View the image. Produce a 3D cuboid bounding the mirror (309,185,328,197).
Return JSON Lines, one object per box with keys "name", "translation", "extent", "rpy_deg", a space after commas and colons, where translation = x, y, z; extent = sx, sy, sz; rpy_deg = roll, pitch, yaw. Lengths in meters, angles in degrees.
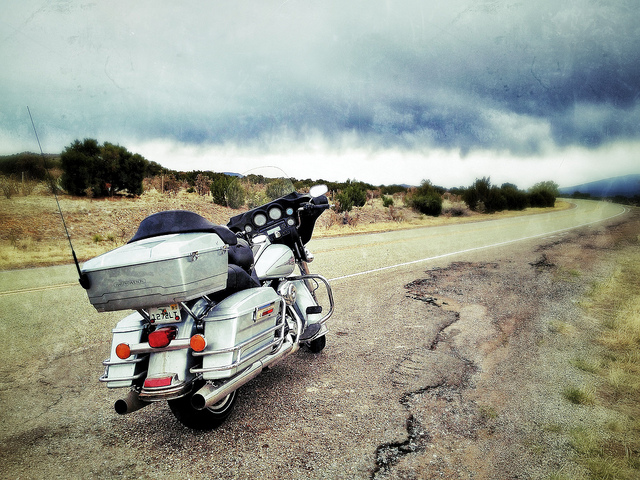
{"name": "mirror", "translation": [-0.022, -0.641, 6.102], "extent": [0.160, 0.043, 0.173], "rpy_deg": [-18, 33, 17]}
